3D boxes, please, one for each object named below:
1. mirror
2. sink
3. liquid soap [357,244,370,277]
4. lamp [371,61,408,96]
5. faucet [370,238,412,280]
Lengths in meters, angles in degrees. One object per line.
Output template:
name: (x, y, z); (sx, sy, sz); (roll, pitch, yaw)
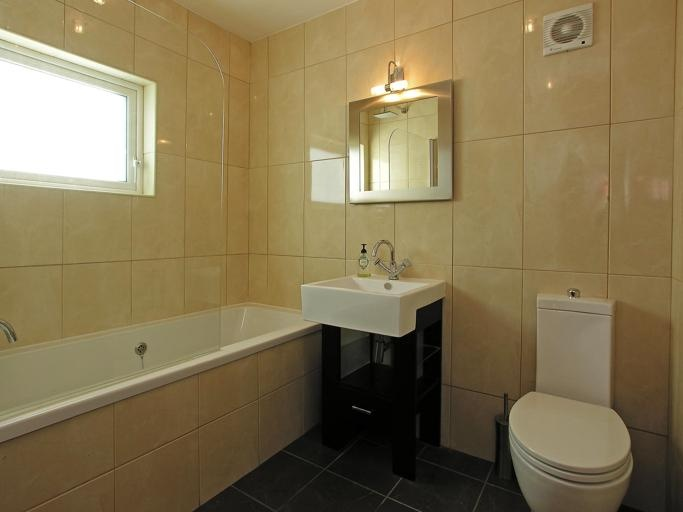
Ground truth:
mirror: (0.395, -0.704, 3.291); (0.704, 0.777, 0.033); (1, 2, 32)
sink: (0.257, 0.261, 2.991); (0.476, 0.177, 0.436); (3, 4, 37)
liquid soap: (0.146, 0.016, 3.429); (0.073, 0.200, 0.182); (0, 8, 2)
lamp: (0.312, -1.104, 3.320); (0.065, 0.142, 0.168); (-9, 20, -40)
faucet: (0.306, 0.016, 3.309); (0.222, 0.325, 0.207); (-2, 1, -41)
